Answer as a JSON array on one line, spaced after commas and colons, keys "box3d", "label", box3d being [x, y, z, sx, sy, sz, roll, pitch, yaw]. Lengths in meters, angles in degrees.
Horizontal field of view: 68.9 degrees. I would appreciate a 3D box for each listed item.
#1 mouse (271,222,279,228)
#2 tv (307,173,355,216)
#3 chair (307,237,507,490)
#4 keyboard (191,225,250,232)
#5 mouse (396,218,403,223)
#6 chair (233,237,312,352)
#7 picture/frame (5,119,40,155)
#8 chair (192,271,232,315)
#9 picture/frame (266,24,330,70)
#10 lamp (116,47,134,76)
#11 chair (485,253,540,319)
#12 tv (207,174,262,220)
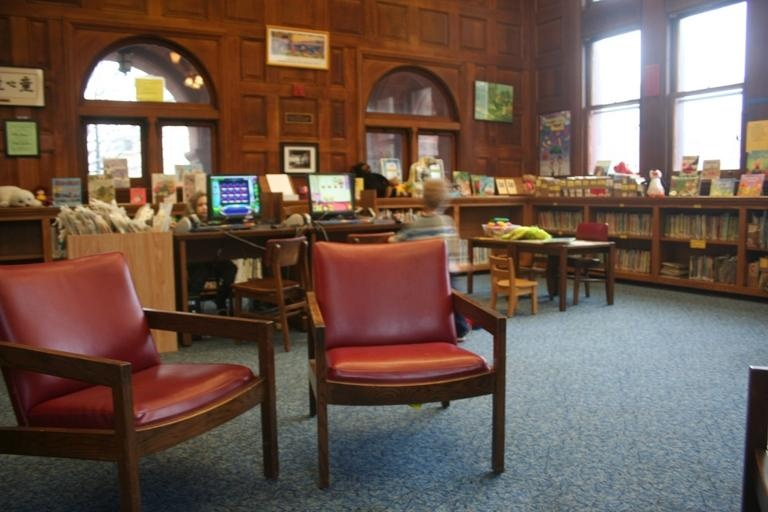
[{"box3d": [-1.059, -0.295, 5.440, 0.047, 0.030, 0.107, -5, 8, -29], "label": "mouse"}, {"box3d": [-0.561, -0.639, 5.836, 0.061, 0.435, 0.610, 4, 10, 42], "label": "tv"}, {"box3d": [0.092, 0.534, 3.257, 1.036, 1.210, 0.855, -3, 12, -8], "label": "chair"}, {"box3d": [-1.520, -0.277, 5.283, 0.541, 0.045, 0.392, -3, 11, -10], "label": "keyboard"}, {"box3d": [0.157, -0.393, 6.124, 0.088, 0.027, 0.087, 1, -1, 3], "label": "mouse"}, {"box3d": [-0.982, 0.268, 5.021, 0.581, 0.748, 0.549, -9, 9, -42], "label": "chair"}, {"box3d": [-4.226, -1.393, 6.512, 0.492, 0.492, 0.040, -1, 3, -25], "label": "picture/frame"}, {"box3d": [-1.824, 0.402, 6.035, 0.346, 0.395, 0.417, 3, -8, -14], "label": "chair"}, {"box3d": [-1.214, -2.863, 7.607, 0.817, 0.428, 0.031, -1, 5, -26], "label": "picture/frame"}, {"box3d": [-3.255, -2.450, 7.029, 0.163, 0.299, 0.073, -6, 13, -19], "label": "lamp"}, {"box3d": [1.351, 0.302, 5.908, 0.523, 0.552, 0.494, 1, 3, 17], "label": "chair"}, {"box3d": [-1.512, -0.608, 5.596, 0.093, 0.431, 0.593, 2, 7, 41], "label": "tv"}]
